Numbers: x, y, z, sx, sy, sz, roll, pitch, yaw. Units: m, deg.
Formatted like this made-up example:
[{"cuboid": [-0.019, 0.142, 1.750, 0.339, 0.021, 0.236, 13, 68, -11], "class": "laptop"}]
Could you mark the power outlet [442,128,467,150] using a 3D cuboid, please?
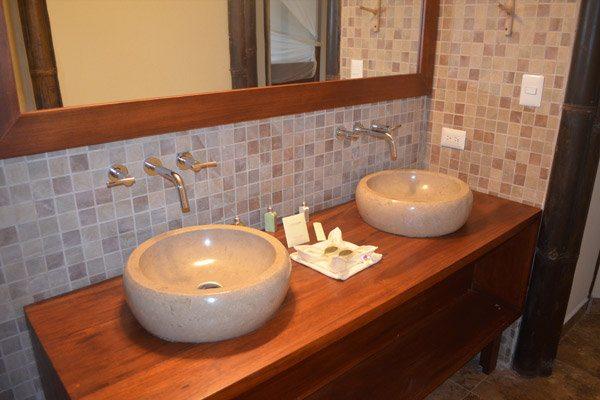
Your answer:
[{"cuboid": [0.923, -0.363, 2.423, 0.121, 0.103, 0.013, 16, 25, 37], "class": "power outlet"}]

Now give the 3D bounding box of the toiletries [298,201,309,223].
[{"cuboid": [0.018, 0.063, 1.970, 0.044, 0.122, 0.056, -20, 32, -30], "class": "toiletries"}]

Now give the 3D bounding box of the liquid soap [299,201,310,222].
[{"cuboid": [0.021, 0.058, 1.981, 0.040, 0.127, 0.055, -18, 30, -27], "class": "liquid soap"}]
